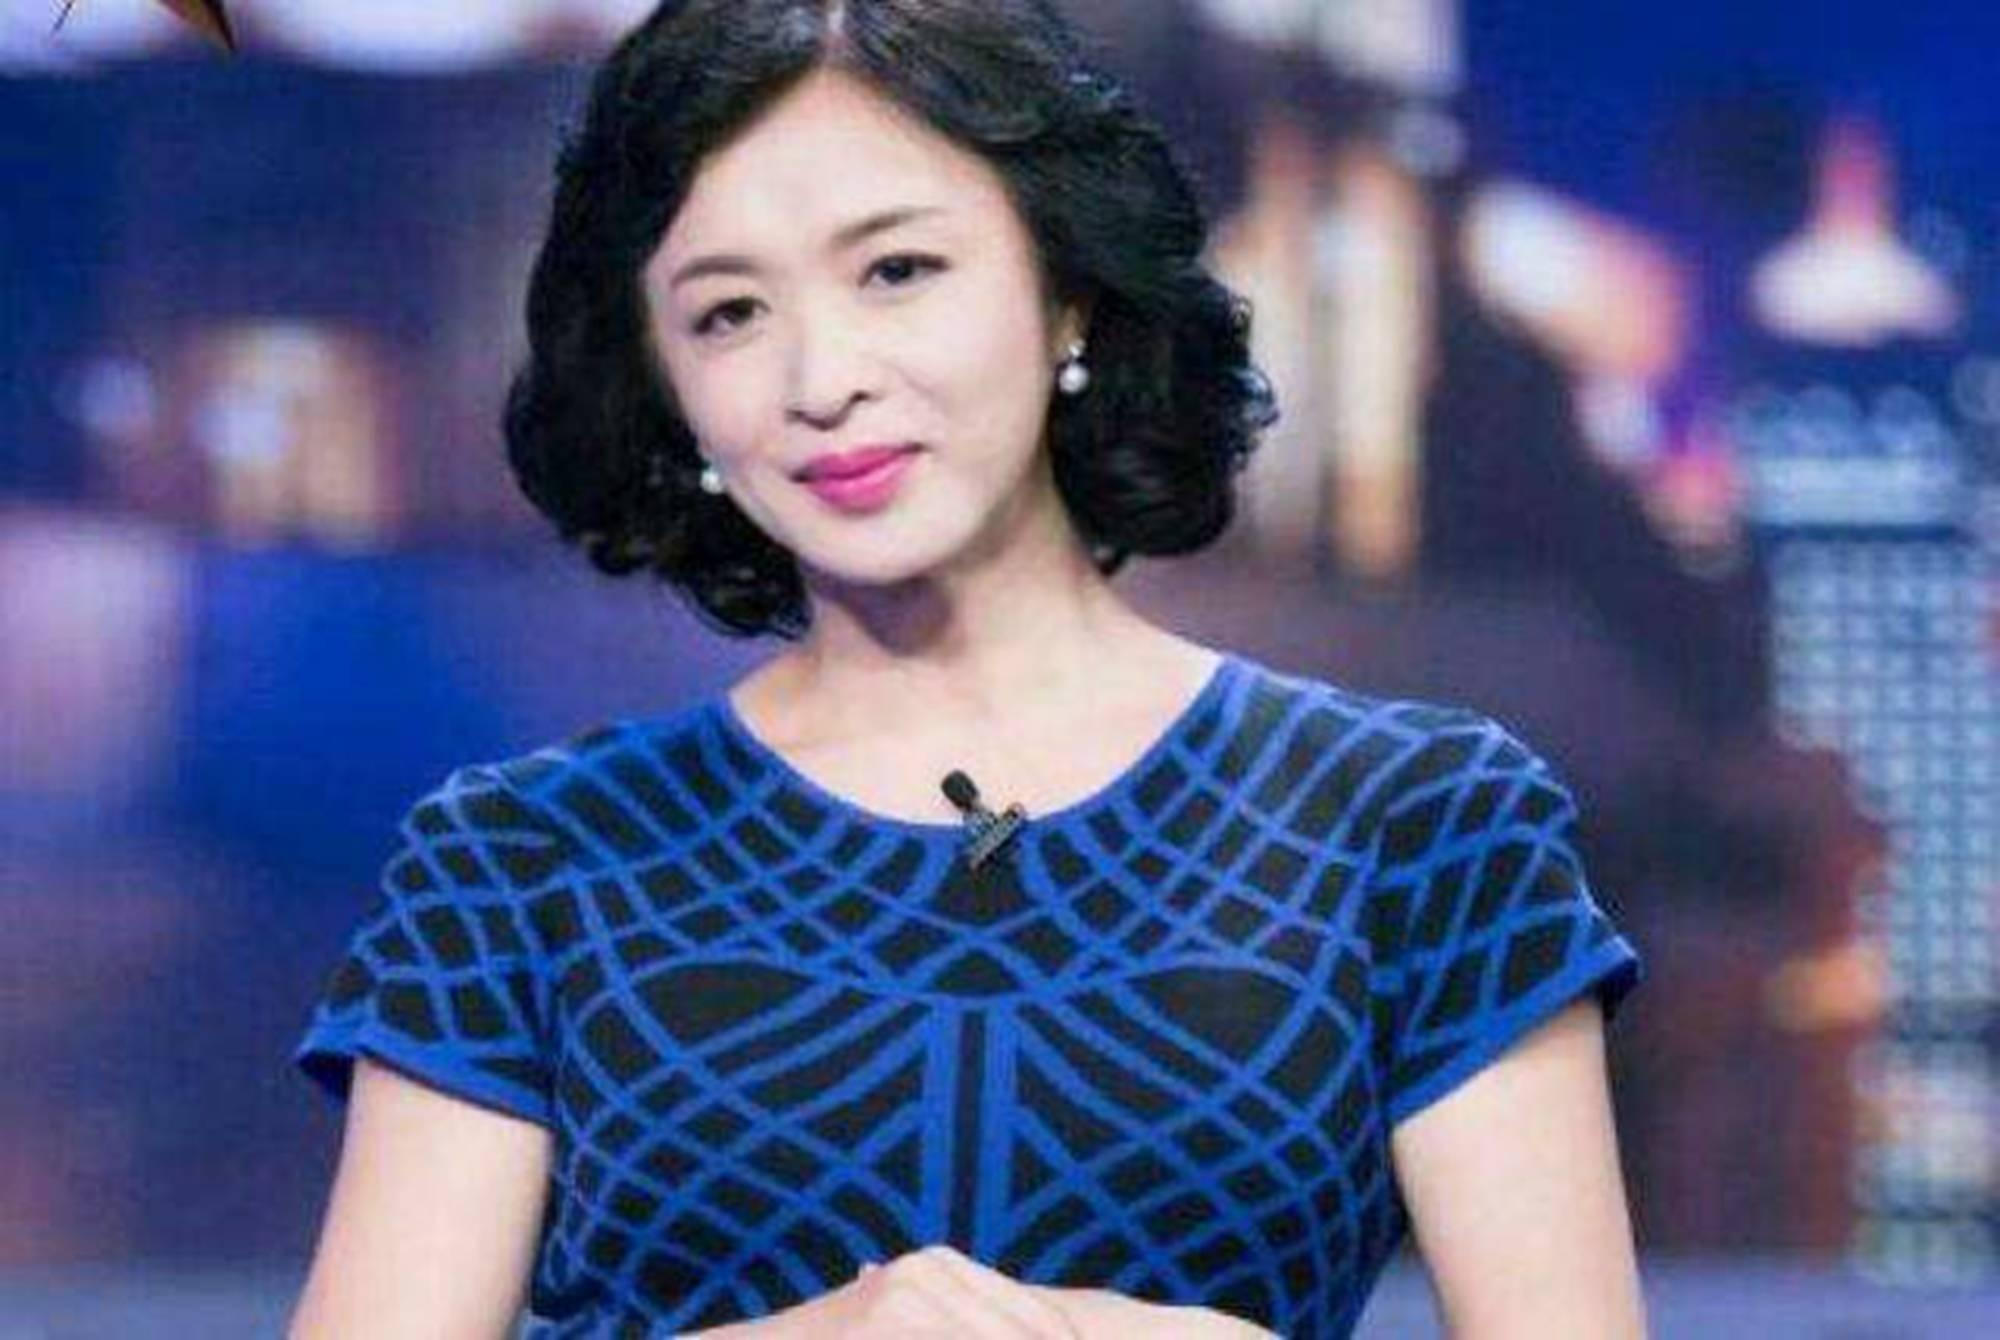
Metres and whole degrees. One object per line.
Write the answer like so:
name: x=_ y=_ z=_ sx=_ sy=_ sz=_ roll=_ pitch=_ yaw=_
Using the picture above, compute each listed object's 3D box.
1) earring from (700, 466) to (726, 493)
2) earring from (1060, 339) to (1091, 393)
earring: x=-0.178 y=-0.116 z=1.847 sx=0.015 sy=0.017 sz=0.018 roll=1 pitch=77 yaw=10
earring: x=0.045 y=-0.185 z=1.820 sx=0.020 sy=0.030 sz=0.008 roll=2 pitch=10 yaw=-11
